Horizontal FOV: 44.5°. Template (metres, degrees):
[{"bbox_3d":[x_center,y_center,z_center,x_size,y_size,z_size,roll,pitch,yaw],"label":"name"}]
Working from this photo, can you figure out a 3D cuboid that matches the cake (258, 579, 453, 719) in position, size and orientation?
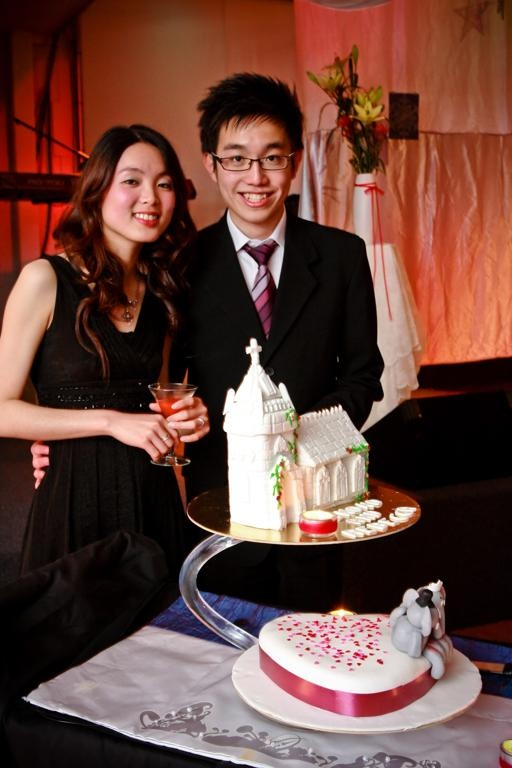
[{"bbox_3d":[0.139,0.303,0.835,0.172,0.117,0.187,-1,9,-21],"label":"cake"}]

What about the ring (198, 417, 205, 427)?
[{"bbox_3d":[-0.143,0.104,1.650,0.010,0.018,0.014,2,5,-36],"label":"ring"}]

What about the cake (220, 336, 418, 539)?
[{"bbox_3d":[0.118,0.095,1.381,0.385,0.371,0.302,-7,4,-24],"label":"cake"}]
